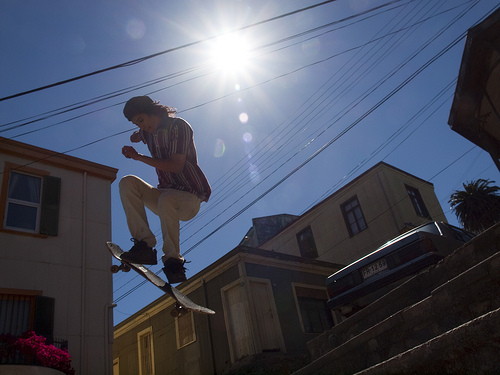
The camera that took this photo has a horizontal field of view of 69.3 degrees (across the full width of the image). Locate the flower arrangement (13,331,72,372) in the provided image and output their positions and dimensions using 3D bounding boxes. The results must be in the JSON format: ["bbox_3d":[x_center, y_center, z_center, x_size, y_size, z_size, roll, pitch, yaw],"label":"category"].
[{"bbox_3d":[-4.640,3.735,8.168,0.423,0.849,1.221,-27,-33,22],"label":"flower arrangement"}]

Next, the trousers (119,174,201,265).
[{"bbox_3d":[-1.311,0.439,5.468,1.147,1.313,0.573,-11,-29,-6],"label":"trousers"}]
